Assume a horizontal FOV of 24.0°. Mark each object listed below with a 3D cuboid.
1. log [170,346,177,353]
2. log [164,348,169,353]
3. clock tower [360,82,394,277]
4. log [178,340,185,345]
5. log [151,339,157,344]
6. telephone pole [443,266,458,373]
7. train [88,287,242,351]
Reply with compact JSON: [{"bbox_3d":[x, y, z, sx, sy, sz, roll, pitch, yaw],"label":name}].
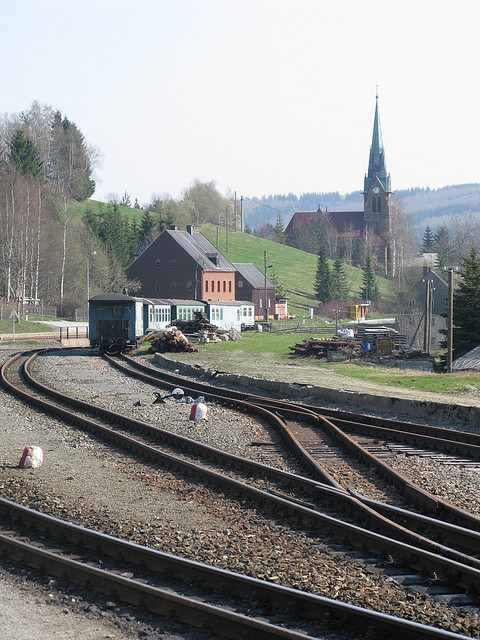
[{"bbox_3d":[-2.578,1.091,43.672,0.266,0.223,0.124,2,0,-6],"label":"log"},{"bbox_3d":[-2.852,1.141,43.599,0.200,0.242,0.119,-1,-7,-3],"label":"log"},{"bbox_3d":[21.124,-20.152,173.757,6.226,27.088,6.159,10,18,40],"label":"clock tower"},{"bbox_3d":[-2.277,0.830,43.991,0.182,0.159,0.534,2,0,9],"label":"log"},{"bbox_3d":[-3.309,0.797,43.576,0.094,0.163,0.455,1,1,-19],"label":"log"},{"bbox_3d":[8.067,-0.070,42.701,0.562,3.958,0.687,1,-1,7],"label":"telephone pole"},{"bbox_3d":[-2.732,-0.227,65.117,5.040,2.377,44.758,2,1,2],"label":"train"}]
